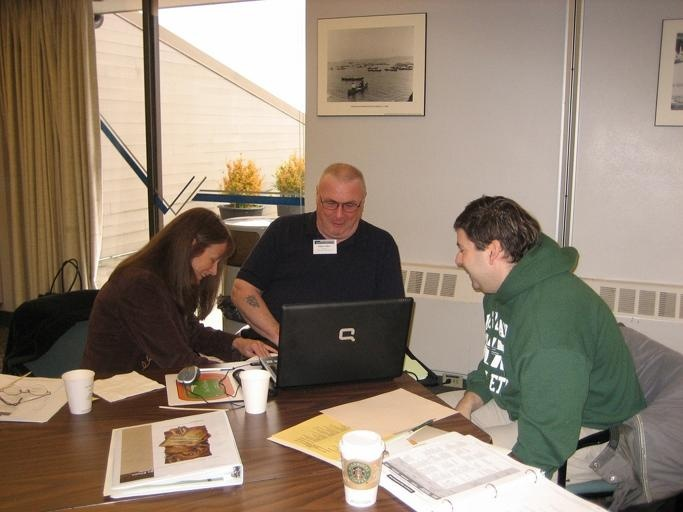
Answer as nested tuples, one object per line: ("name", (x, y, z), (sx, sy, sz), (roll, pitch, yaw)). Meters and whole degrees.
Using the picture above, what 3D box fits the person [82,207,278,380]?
("person", (-0.743, 0.158, 2.370), (0.716, 0.731, 0.495), (-2, 7, -31))

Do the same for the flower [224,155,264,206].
("flower", (-0.809, -0.576, 4.409), (0.381, 0.515, 0.366), (1, -2, -14))

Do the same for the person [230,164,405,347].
("person", (-0.078, -0.015, 2.951), (0.992, 0.912, 0.632), (7, 18, -6))

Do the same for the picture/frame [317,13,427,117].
("picture/frame", (0.237, -1.315, 3.638), (0.706, 0.605, 0.026), (2, 11, 15))

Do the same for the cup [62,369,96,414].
("cup", (-0.913, 0.470, 1.901), (0.137, 0.145, 0.139), (0, 0, 0))

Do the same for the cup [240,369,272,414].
("cup", (-0.301, 0.488, 1.971), (0.140, 0.136, 0.142), (0, 3, 0))

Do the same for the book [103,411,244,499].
("book", (-0.529, 0.626, 1.681), (0.392, 0.112, 0.359), (-1, 6, -20))

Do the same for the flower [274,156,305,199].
("flower", (-0.405, -0.600, 4.247), (0.302, 0.397, 0.278), (2, -2, -13))

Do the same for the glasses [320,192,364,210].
("glasses", (-0.006, -0.268, 2.823), (0.218, 0.066, 0.081), (1, 6, -1))

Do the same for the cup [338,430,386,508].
("cup", (0.038, 0.618, 1.583), (0.178, 0.227, 0.173), (1, -4, 0))

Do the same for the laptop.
("laptop", (0.003, 0.323, 2.010), (0.490, 0.356, 0.350), (0, 36, -13))

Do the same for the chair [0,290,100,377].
("chair", (-1.646, 0.460, 3.228), (0.473, 0.311, 0.621), (3, 0, 25))
